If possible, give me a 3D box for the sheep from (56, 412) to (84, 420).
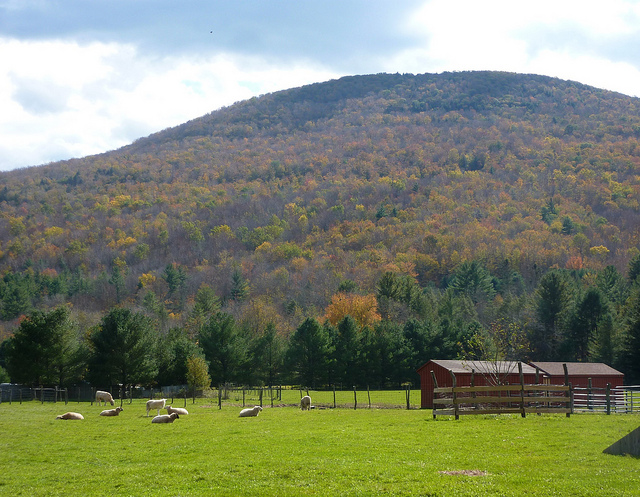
[{"bbox_3d":[-45.349,30.760,219.866,4.587,1.162,1.531,0,-7,-8],"label":"sheep"}]
